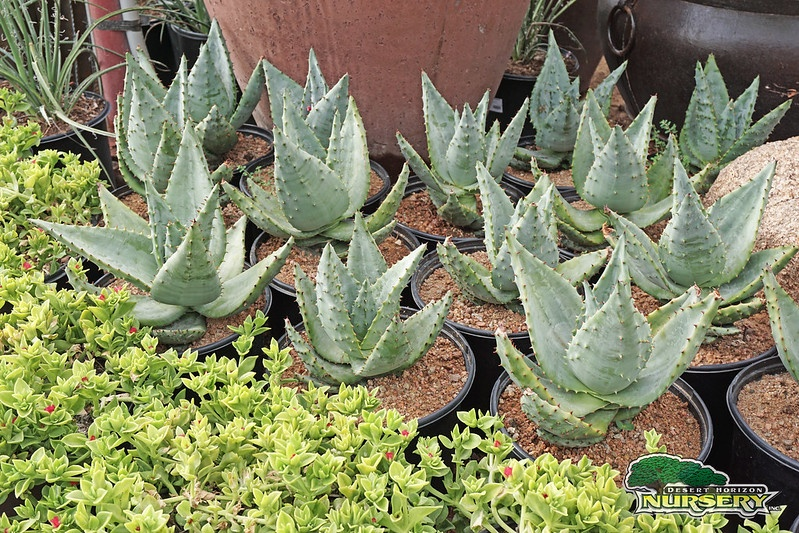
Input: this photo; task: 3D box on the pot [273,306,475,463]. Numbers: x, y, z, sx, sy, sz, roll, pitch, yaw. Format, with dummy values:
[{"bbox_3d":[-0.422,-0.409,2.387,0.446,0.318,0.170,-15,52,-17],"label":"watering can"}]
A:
[{"bbox_3d":[0.005,0.511,3.380,0.624,0.326,0.652,-2,40,1],"label":"pot"}]
